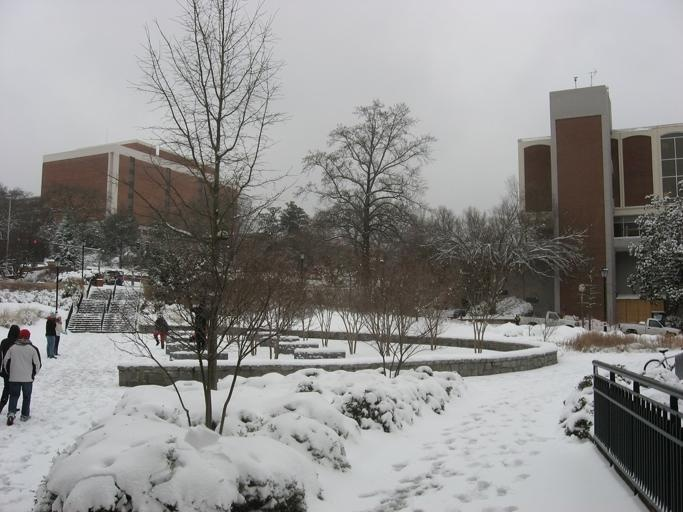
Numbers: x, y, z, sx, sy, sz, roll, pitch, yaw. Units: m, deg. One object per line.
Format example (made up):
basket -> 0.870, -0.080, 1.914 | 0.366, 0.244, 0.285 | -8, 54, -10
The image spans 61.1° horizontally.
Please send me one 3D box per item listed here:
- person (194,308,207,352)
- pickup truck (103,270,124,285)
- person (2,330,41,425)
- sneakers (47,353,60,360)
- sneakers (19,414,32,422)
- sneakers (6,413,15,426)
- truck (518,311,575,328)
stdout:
person -> -2.438, 1.268, 9.803 | 0.189, 0.818, 0.243 | -1, -3, 5
pickup truck -> -19.008, 1.824, 48.338 | 1.437, 0.823, 1.014 | 0, -3, 38
person -> -6.933, 2.583, 12.548 | 0.699, 1.979, 0.845 | 3, -5, -34
sneakers -> -10.235, 3.592, 20.602 | 0.444, 0.226, 0.155 | -1, -2, -24
sneakers -> -6.773, 3.502, 12.449 | 0.168, 0.132, 0.099 | -22, -25, 29
sneakers -> -6.911, 3.419, 12.116 | 0.147, 0.256, 0.231 | 3, -6, -35
truck -> 12.009, 3.593, 33.663 | 2.916, 0.869, 11.581 | -2, -7, 19
